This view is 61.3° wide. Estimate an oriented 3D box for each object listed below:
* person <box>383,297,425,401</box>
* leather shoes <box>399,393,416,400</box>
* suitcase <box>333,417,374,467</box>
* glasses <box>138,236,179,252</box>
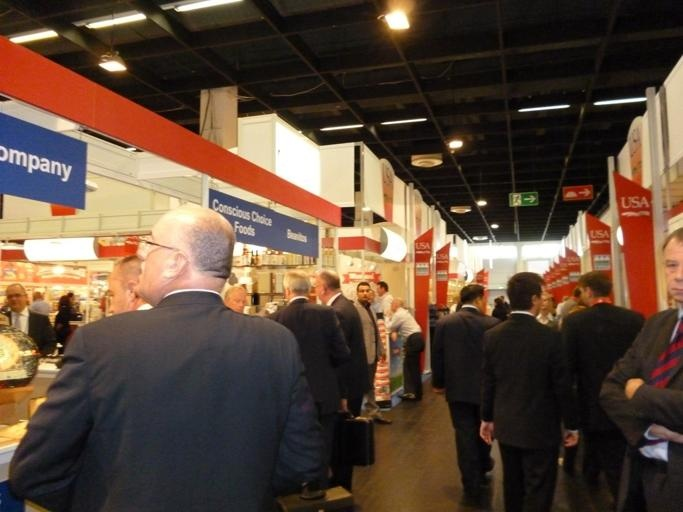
[{"bbox_3d":[0.898,1.325,8.218,0.673,1.353,0.518,-4,-9,9],"label":"person"},{"bbox_3d":[0.942,1.989,8.155,0.222,0.088,0.077,5,-10,25],"label":"leather shoes"},{"bbox_3d":[0.090,1.219,3.805,0.256,0.305,0.185,-3,-14,14],"label":"suitcase"},{"bbox_3d":[-0.660,-0.043,2.078,0.126,0.033,0.113,10,-3,7],"label":"glasses"}]
